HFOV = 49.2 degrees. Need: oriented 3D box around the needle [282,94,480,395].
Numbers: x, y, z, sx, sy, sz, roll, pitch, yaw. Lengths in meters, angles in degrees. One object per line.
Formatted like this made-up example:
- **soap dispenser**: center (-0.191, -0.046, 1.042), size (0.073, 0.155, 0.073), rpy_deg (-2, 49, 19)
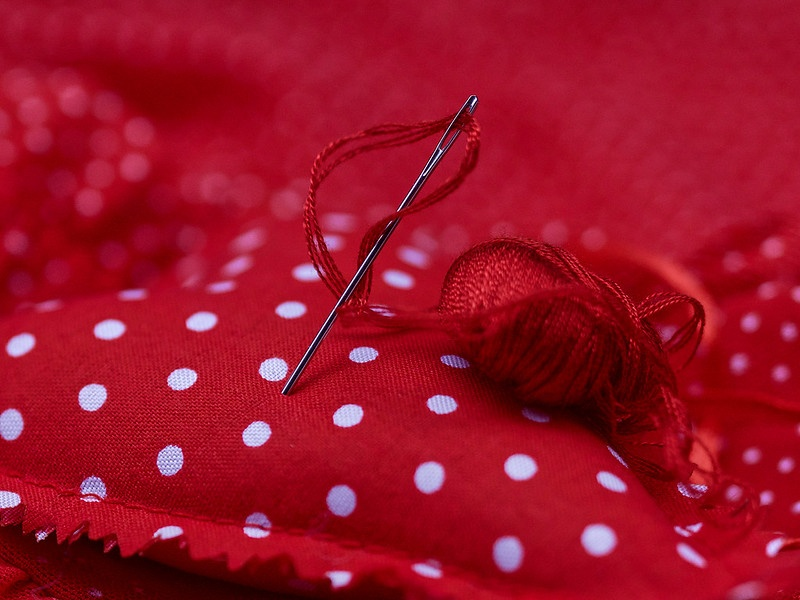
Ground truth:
- **needle**: center (-0.025, -0.062, 1.158), size (0.023, 0.455, 0.035), rpy_deg (27, 0, 31)
